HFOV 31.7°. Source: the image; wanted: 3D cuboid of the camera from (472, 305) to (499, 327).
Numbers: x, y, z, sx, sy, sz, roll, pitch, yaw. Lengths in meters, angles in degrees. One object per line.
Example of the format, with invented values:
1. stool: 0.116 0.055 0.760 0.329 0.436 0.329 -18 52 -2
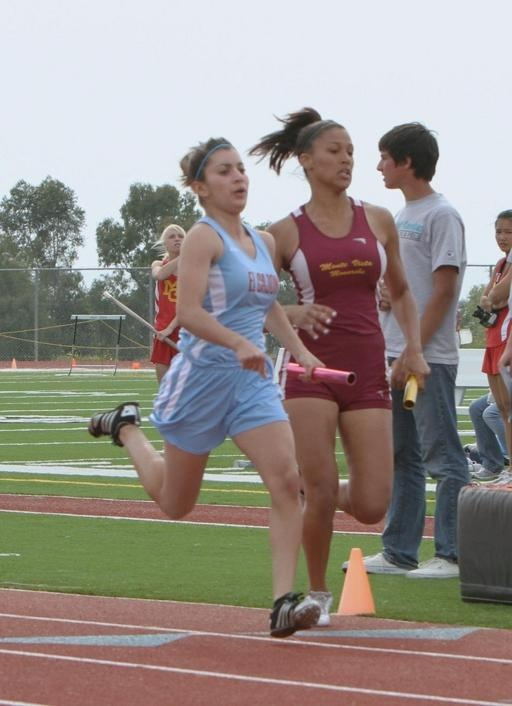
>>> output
1. camera: 2.088 -0.334 8.135 0.228 0.154 0.107 32 28 19

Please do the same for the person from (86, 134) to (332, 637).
1. person: -0.069 0.096 3.593 0.964 1.668 0.793 1 0 28

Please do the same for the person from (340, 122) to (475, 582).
1. person: 0.828 0.048 5.076 0.979 2.430 0.840 5 4 37

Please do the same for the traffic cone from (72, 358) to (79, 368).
1. traffic cone: -7.847 0.437 38.758 0.426 0.423 0.359 3 -14 -8

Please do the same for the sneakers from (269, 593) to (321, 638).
1. sneakers: 0.106 0.921 3.169 0.239 0.113 0.112 -36 -49 25

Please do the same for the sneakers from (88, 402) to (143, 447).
1. sneakers: -0.709 0.347 4.427 0.292 0.215 0.273 -7 10 -39
